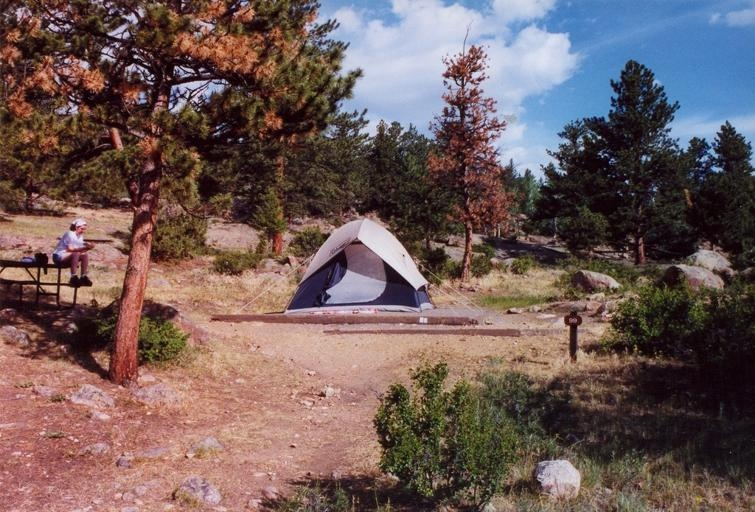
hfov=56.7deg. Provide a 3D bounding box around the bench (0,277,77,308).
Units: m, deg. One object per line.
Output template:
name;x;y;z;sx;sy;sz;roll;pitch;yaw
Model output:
bench;-10.707;1.115;22.016;1.960;0.899;3.583;10;-5;-34

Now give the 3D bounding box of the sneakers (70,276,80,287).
sneakers;-8.664;0.736;19.976;0.229;0.285;0.394;3;-7;-28
